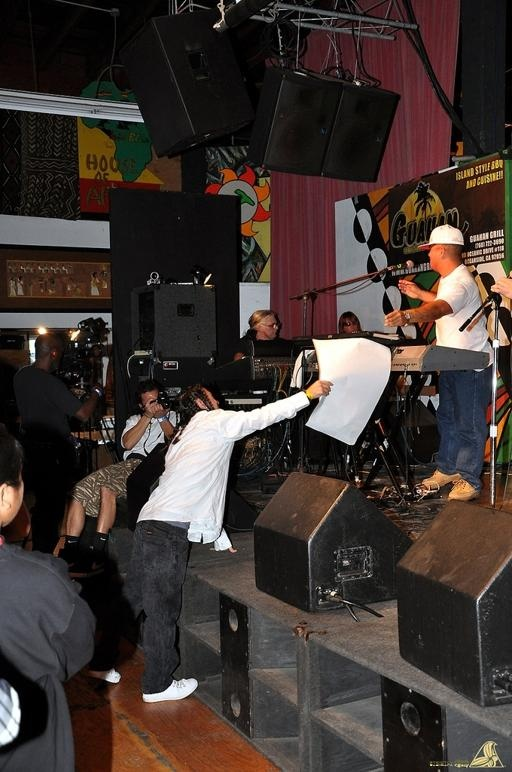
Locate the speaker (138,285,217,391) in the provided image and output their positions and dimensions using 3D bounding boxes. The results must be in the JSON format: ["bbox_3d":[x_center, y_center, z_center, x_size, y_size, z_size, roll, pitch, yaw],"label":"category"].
[{"bbox_3d":[-0.582,-0.388,5.410,0.742,1.030,0.753,0,-1,-20],"label":"speaker"}]

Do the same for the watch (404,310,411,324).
[{"bbox_3d":[0.706,-0.324,2.977,0.019,0.053,0.046,-2,-1,34],"label":"watch"}]

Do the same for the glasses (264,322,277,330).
[{"bbox_3d":[0.132,-0.494,5.265,0.035,0.050,0.156,1,3,18],"label":"glasses"}]

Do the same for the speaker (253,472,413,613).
[{"bbox_3d":[0.255,0.528,2.260,0.418,0.443,0.443,-2,3,-26],"label":"speaker"}]

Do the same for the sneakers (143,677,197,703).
[{"bbox_3d":[-0.360,1.233,2.639,0.219,0.087,0.082,-3,2,-18],"label":"sneakers"}]

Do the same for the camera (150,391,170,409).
[{"bbox_3d":[-0.561,0.086,3.656,0.094,0.092,0.096,16,1,-35],"label":"camera"}]

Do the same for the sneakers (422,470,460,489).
[{"bbox_3d":[1.090,0.554,3.725,0.290,0.114,0.105,-4,-2,-14],"label":"sneakers"}]

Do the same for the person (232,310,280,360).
[{"bbox_3d":[0.003,-0.417,4.971,0.359,0.406,1.067,0,3,1],"label":"person"}]

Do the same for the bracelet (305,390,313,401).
[{"bbox_3d":[0.201,0.037,2.444,0.023,0.032,0.036,-4,7,1],"label":"bracelet"}]

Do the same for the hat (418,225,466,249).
[{"bbox_3d":[1.018,-0.826,3.591,0.270,0.140,0.177,15,24,42],"label":"hat"}]

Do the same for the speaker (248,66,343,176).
[{"bbox_3d":[0.307,-1.922,4.669,0.604,0.563,0.515,-1,3,-19],"label":"speaker"}]

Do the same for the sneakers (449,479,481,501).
[{"bbox_3d":[1.122,0.559,3.431,0.151,0.117,0.264,1,3,18],"label":"sneakers"}]
